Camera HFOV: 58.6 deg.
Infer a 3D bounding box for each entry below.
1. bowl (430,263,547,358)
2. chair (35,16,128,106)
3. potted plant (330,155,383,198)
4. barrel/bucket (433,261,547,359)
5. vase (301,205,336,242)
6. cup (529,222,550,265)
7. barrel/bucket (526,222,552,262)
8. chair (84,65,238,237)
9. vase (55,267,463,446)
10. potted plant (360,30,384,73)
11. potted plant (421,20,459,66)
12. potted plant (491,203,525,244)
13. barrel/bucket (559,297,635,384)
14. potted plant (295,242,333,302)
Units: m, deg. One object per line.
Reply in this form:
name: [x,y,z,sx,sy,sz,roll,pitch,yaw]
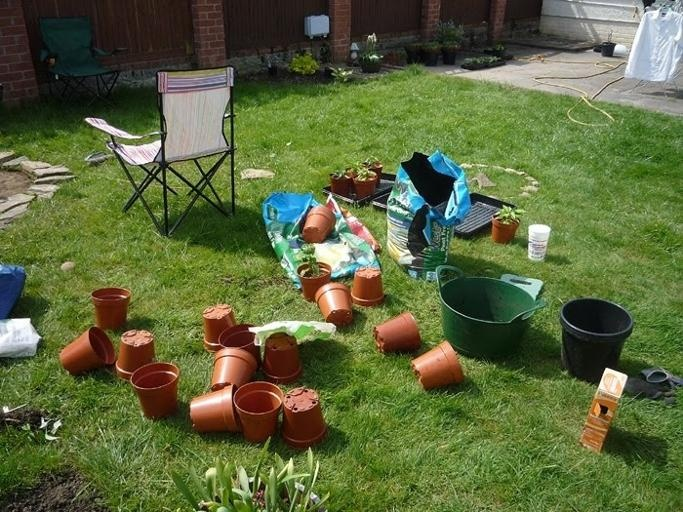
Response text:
bowl: [1.084,0.387,4.396,0.631,0.446,0.721,-22,33,-30]
chair: [-3.585,-2.639,8.381,0.941,1.204,1.066,-18,30,-35]
potted plant: [0.154,-0.794,6.195,0.540,0.350,0.401,-2,26,-4]
barrel/bucket: [1.075,0.381,4.400,0.632,0.441,0.726,-20,32,-29]
vase: [-0.224,-0.293,5.433,0.283,0.232,0.374,7,27,15]
cup: [1.715,-0.106,5.333,0.172,0.256,0.180,3,6,0]
barrel/bucket: [1.718,-0.118,5.329,0.230,0.263,0.230,1,15,0]
chair: [-1.640,-1.053,5.601,1.317,1.468,1.050,-18,31,-42]
vase: [-0.310,0.716,3.980,2.018,0.461,0.953,-12,29,-23]
potted plant: [0.535,-3.862,11.587,0.430,0.729,0.504,7,16,12]
potted plant: [2.259,-4.813,13.618,0.744,0.745,1.924,6,27,12]
potted plant: [1.503,-0.300,5.570,0.259,0.288,0.244,1,25,2]
barrel/bucket: [1.717,0.595,4.181,0.454,0.438,0.481,-15,15,4]
potted plant: [-0.241,0.131,4.866,0.308,0.480,0.295,-5,-12,-37]
